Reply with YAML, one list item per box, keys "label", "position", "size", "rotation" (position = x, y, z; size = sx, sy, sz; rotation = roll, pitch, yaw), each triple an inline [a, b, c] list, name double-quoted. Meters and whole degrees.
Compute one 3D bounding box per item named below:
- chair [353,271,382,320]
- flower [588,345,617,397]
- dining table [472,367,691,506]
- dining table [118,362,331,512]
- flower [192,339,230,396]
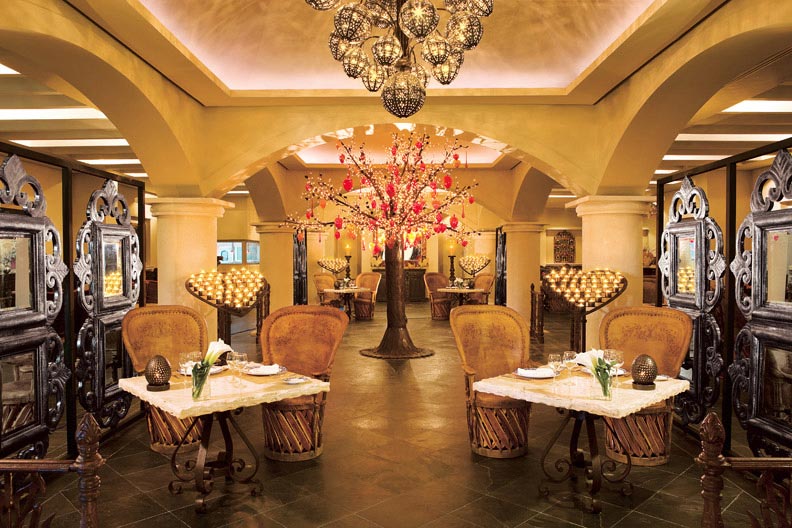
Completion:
- label: "chair"
  position: [-0.974, 0.928, 15.053]
  size: [0.945, 1.284, 0.987]
  rotation: [2, 1, 7]
- label: "flower"
  position: [1.802, 0.941, 4.387]
  size: [0.224, 0.362, 0.320]
  rotation: [2, 5, 29]
- label: "dining table"
  position: [1.857, 1.427, 4.722]
  size: [1.509, 0.970, 1.458]
  rotation: [-1, 1, -41]
- label: "dining table"
  position: [-1.697, 1.527, 4.672]
  size: [1.496, 1.000, 1.399]
  rotation: [-1, -2, 36]
- label: "flower"
  position: [-1.615, 0.937, 4.297]
  size: [0.280, 0.426, 0.256]
  rotation: [-3, -24, 14]
